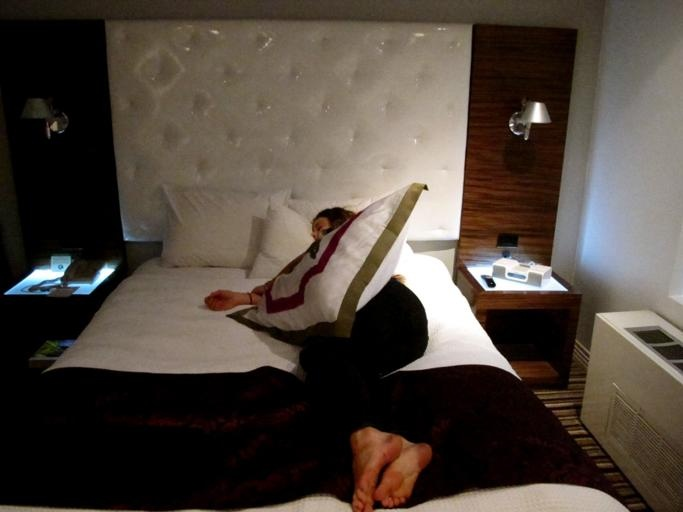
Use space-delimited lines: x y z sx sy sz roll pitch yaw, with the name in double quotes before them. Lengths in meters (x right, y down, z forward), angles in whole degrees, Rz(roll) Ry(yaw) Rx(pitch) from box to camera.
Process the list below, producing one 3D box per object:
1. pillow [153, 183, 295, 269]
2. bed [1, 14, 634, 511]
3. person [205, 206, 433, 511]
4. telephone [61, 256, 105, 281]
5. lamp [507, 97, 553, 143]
"pillow" -0.759 -0.155 3.216 0.736 0.489 0.274 5 17 7
"bed" -0.145 -0.102 2.636 2.159 0.579 2.460 6 31 10
"person" -0.088 0.427 2.091 0.628 0.320 1.088 3 34 1
"telephone" -1.607 0.074 3.177 0.148 0.037 0.154 5 45 -7
"lamp" 1.105 -0.811 3.064 0.178 0.271 0.281 -7 48 -4
